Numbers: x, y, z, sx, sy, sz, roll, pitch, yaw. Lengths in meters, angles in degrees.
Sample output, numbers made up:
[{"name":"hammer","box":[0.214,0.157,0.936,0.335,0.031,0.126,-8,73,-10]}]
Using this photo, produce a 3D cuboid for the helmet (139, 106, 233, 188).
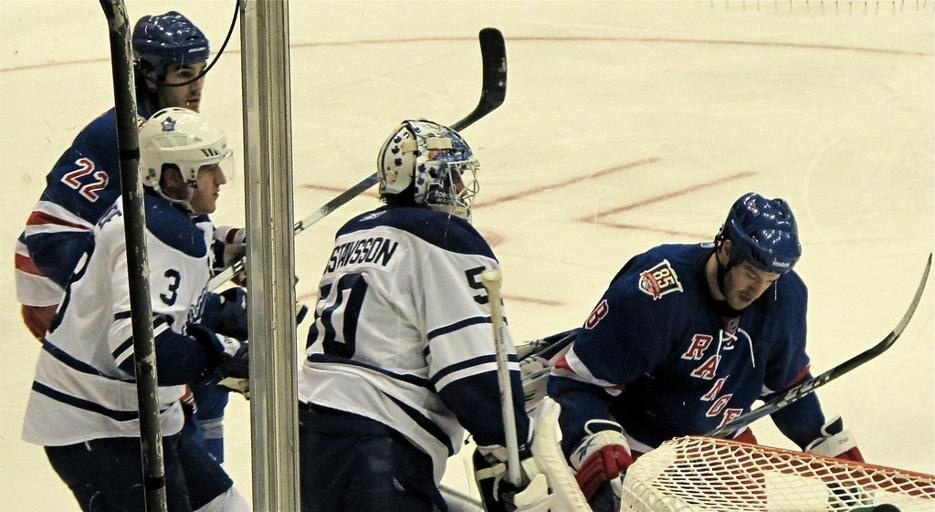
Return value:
[{"name":"helmet","box":[-1.649,-0.672,8.714,0.602,0.484,0.395,6,28,-8]}]

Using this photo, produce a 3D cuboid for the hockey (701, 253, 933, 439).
[{"name":"hockey","box":[2.286,0.644,9.489,2.294,0.357,0.100,-28,32,8]}]

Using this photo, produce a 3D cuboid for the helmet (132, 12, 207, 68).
[{"name":"helmet","box":[-1.842,-1.398,9.343,0.456,0.380,0.345,-8,17,6]}]

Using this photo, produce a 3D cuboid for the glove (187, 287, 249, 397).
[{"name":"glove","box":[-1.476,0.534,8.979,0.290,0.653,0.510,1,15,-19]}]
